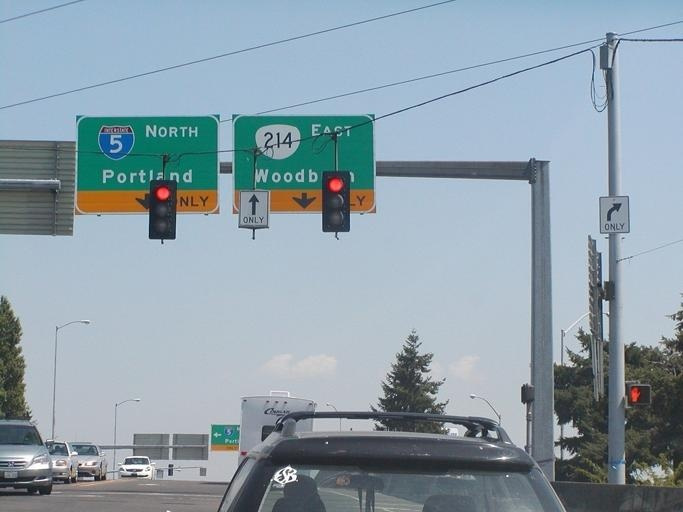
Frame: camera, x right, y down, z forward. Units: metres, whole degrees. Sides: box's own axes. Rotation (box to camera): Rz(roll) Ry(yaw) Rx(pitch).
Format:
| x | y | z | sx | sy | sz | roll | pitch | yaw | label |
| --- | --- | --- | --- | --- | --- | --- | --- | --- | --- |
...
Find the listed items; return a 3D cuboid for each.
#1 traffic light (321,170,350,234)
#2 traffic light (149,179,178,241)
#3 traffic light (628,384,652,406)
| x | y | z | sx | sy | sz | roll | pitch | yaw | label |
| --- | --- | --- | --- | --- | --- | --- | --- | --- | --- |
| -0.343 | -1.989 | 76.816 | 1.025 | 2.301 | 0.272 | -1 | -3 | 6 | traffic light |
| -7.091 | -1.664 | 77.213 | 1.028 | 2.381 | 0.587 | 0 | -3 | -7 | traffic light |
| 11.538 | 5.562 | 77.995 | 0.882 | 0.840 | 0.881 | -2 | -4 | 19 | traffic light |
